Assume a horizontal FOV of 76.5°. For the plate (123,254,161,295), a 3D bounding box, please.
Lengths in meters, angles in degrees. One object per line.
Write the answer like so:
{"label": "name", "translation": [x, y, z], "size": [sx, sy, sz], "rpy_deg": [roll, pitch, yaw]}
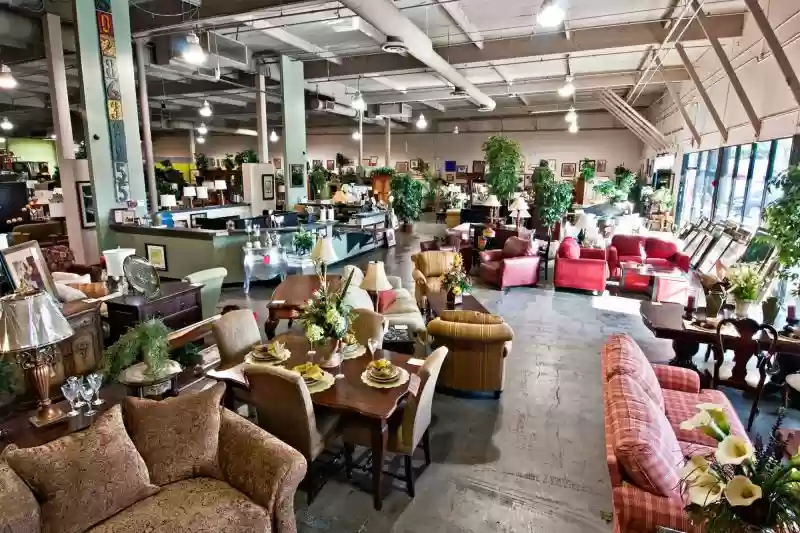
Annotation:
{"label": "plate", "translation": [-3.718, 0.124, 7.275], "size": [0.527, 0.547, 0.143], "rpy_deg": [16, -43, -34]}
